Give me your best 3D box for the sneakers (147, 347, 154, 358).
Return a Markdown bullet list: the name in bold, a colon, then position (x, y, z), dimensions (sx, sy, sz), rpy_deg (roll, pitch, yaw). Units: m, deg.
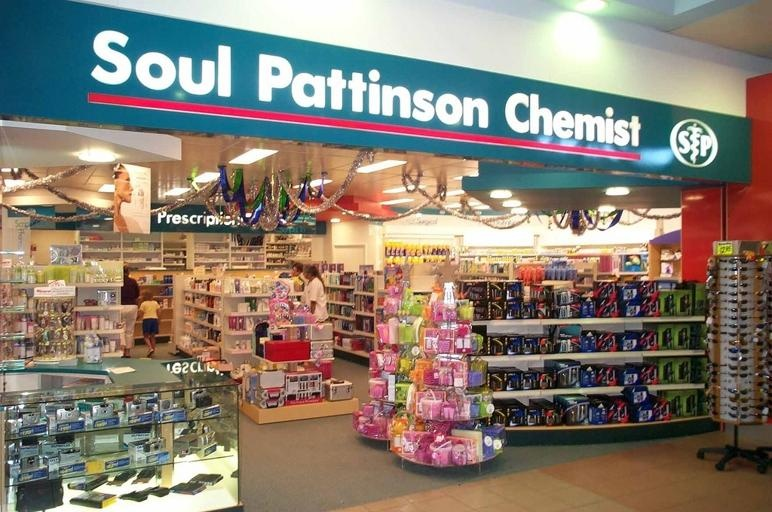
- **sneakers**: position (-5.307, 2.173, 13.866), dimensions (0.109, 0.245, 0.113), rpy_deg (15, 27, -21)
